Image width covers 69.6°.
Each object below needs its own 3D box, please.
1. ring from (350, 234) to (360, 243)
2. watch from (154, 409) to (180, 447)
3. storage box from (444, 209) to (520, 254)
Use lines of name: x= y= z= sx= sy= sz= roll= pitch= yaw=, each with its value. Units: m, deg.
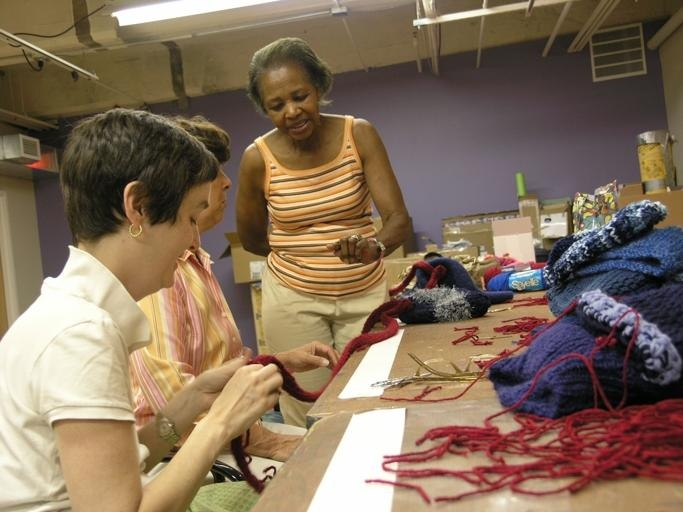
ring: x=0.044 y=-0.060 z=1.649 sx=0.023 sy=0.016 sz=0.029 roll=4 pitch=-8 yaw=-28
watch: x=-0.399 y=0.390 z=1.123 sx=0.054 sy=0.039 sz=0.059 roll=-34 pitch=-29 yaw=-11
storage box: x=1.186 y=-0.209 z=4.264 sx=0.537 sy=0.295 sz=1.331 roll=-7 pitch=4 yaw=19
